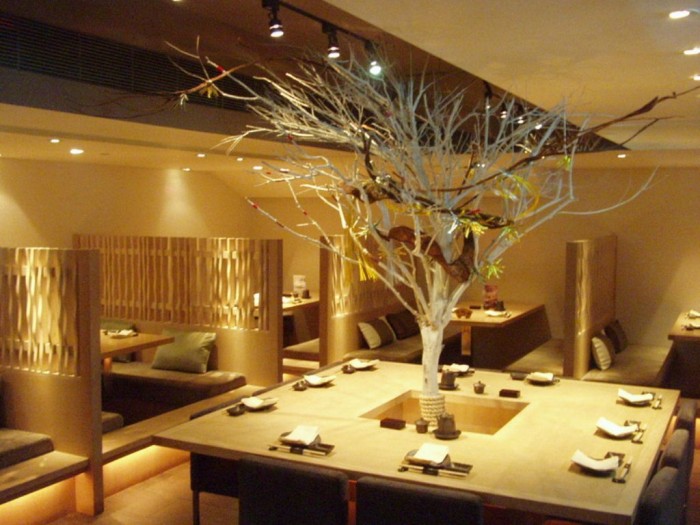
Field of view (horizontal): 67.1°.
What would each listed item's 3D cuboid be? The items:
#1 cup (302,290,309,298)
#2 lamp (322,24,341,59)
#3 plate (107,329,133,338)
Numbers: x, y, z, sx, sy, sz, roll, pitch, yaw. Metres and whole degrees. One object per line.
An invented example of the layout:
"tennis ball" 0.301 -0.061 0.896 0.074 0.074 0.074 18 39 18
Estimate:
"cup" -0.602 0.431 7.263 0.099 0.100 0.096 1 7 0
"lamp" -0.144 -1.715 4.097 0.116 0.324 0.367 -3 5 -1
"plate" -2.204 0.705 5.194 0.134 0.055 0.172 1 -2 9
